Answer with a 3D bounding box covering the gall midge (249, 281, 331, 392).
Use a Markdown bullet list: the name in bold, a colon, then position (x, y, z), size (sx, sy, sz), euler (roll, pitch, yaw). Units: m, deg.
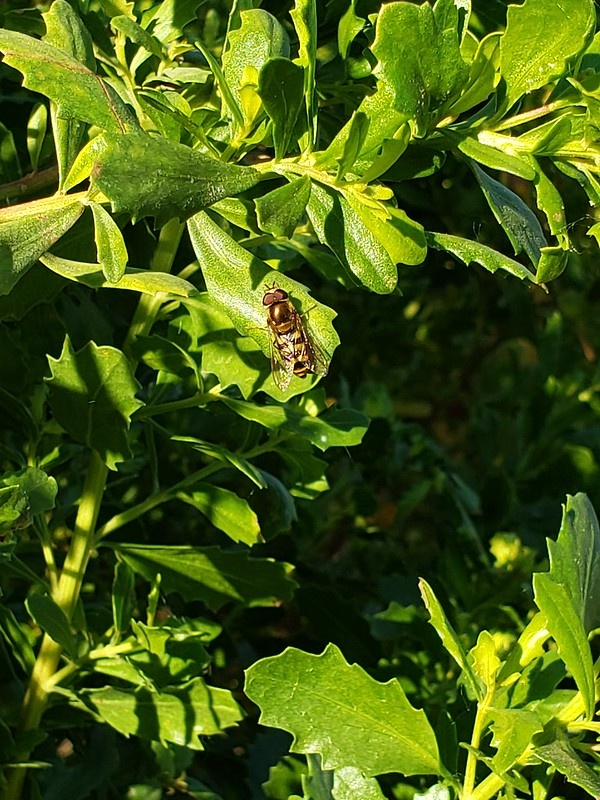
- **gall midge**: position (-0.012, -0.052, 0.783), size (0.079, 0.103, 0.033), euler (31, 64, 16)
